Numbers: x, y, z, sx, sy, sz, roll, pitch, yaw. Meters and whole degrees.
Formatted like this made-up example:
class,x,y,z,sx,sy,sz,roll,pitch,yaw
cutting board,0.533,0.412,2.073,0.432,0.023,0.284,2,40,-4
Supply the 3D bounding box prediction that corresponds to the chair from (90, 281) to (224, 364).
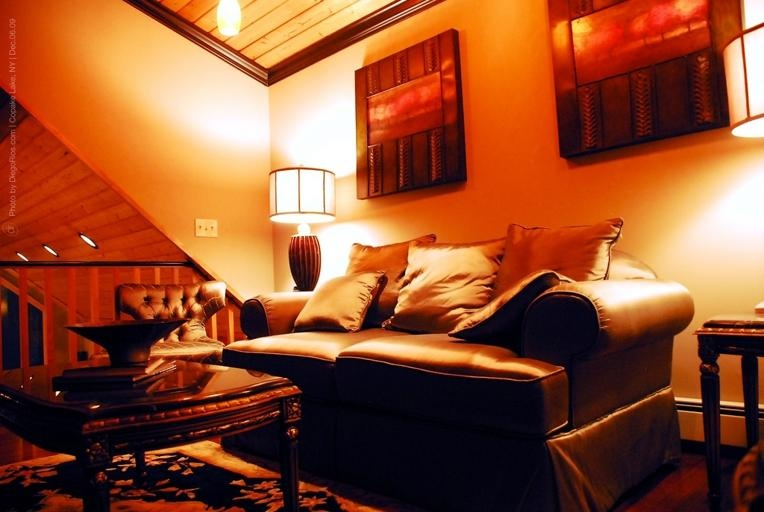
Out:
class,x,y,z,sx,sy,sz,roll,pitch,yaw
chair,-1.414,0.410,3.825,0.731,0.606,0.600,3,-23,-16
